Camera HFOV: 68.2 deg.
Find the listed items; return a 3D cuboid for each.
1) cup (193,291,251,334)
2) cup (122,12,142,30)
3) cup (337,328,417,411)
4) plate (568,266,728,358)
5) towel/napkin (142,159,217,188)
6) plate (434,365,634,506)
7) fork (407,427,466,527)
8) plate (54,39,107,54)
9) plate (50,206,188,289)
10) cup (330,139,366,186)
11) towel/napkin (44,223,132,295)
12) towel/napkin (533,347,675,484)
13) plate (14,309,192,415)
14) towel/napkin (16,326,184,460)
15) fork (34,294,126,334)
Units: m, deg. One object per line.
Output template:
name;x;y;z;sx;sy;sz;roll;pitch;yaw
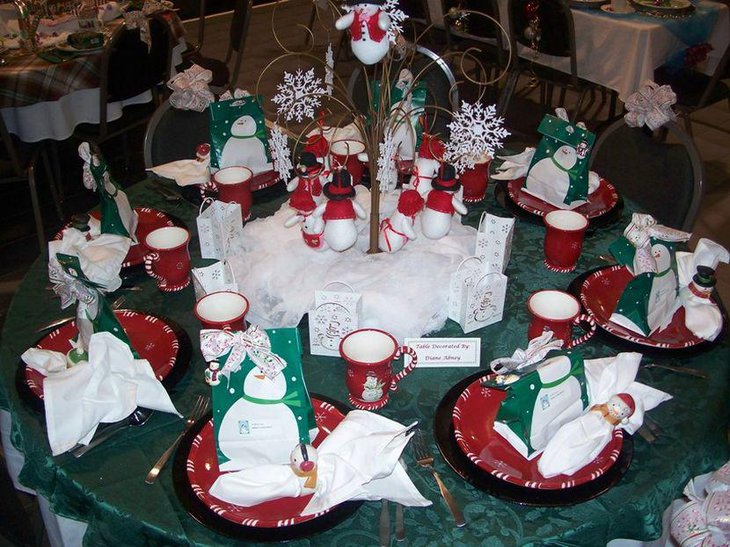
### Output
cup;-0.350;0.087;1.313;0.101;0.074;0.104;0;35;0
cup;-1.257;-1.366;2.909;0.080;0.062;0.217;-7;38;-17
cup;0.011;0.219;1.288;0.198;0.157;0.147;-8;39;-8
plate;0.751;0.115;1.419;0.276;0.060;0.285;-7;35;-9
towel/napkin;-0.650;-0.367;1.954;0.132;0.056;0.172;32;35;34
plate;0.341;0.355;1.131;0.403;0.068;0.268;21;39;20
fork;0.142;0.408;1.147;0.044;0.031;0.261;-16;44;-11
plate;-1.615;-1.303;3.066;0.146;0.021;0.150;-6;45;-14
plate;-0.692;-0.108;1.683;0.298;0.060;0.307;4;35;-3
cup;-0.055;-0.380;1.833;0.134;0.134;0.167;6;22;17
towel/napkin;-0.757;-0.053;1.501;0.210;0.079;0.217;8;43;-12
towel/napkin;0.481;0.293;1.115;0.300;0.063;0.195;-37;54;-14
plate;-0.607;0.179;1.296;0.268;0.048;0.266;-22;45;-38
towel/napkin;-0.570;0.252;1.173;0.262;0.089;0.280;-9;69;-23
fork;-0.700;0.102;1.316;0.244;0.026;0.033;-21;45;-39
